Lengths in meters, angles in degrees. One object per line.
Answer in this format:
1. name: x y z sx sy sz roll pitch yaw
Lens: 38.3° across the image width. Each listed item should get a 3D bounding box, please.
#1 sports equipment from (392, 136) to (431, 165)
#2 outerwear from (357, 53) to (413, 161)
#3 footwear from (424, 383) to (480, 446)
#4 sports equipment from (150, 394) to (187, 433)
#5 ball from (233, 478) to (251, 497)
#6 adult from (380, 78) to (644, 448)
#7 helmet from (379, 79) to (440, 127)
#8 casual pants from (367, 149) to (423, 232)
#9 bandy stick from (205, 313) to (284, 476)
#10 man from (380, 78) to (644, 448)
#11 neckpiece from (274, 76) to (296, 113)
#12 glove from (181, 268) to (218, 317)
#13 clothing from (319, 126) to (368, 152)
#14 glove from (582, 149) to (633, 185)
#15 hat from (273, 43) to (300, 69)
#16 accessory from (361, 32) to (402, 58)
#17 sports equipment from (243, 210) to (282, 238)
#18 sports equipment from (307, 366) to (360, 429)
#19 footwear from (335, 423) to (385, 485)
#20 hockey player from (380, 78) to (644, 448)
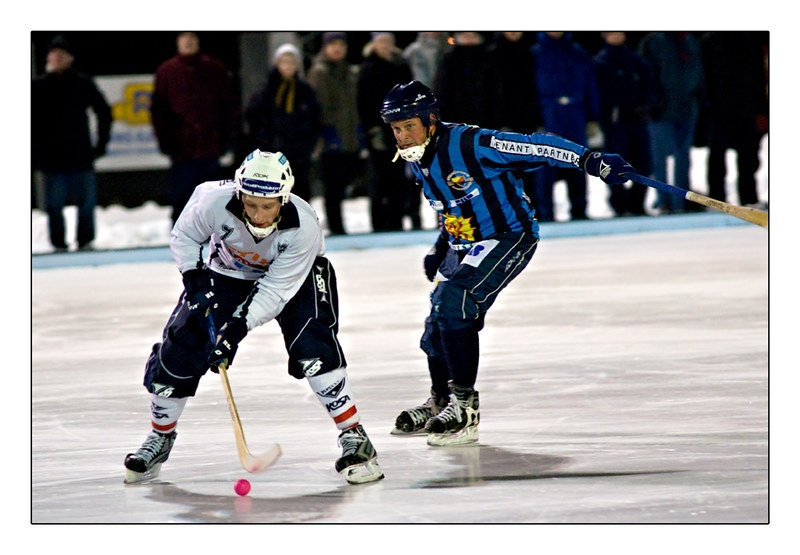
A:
1. sports equipment: 0.090 -0.704 6.482 0.140 0.094 0.187 5 41 47
2. outerwear: -0.123 -1.709 11.614 0.823 1.076 0.430 0 21 6
3. footwear: 0.295 0.763 6.397 0.282 0.294 0.201 0 10 0
4. sports equipment: -1.229 0.710 6.052 0.251 0.195 0.197 5 3 -13
5. ball: -0.790 1.055 5.784 0.095 0.072 0.046 -2 -5 -3
6. adult: 0.420 -0.096 6.424 0.977 1.983 0.760 8 13 39
7. helmet: 0.092 -0.971 6.408 0.326 0.239 0.246 -1 -1 -33
8. casual pants: -0.097 -0.862 11.690 0.799 0.625 0.189 -6 9 -44
9. bandy stick: -0.902 0.622 6.167 0.200 0.178 1.496 -15 34 -10
10. man: 0.423 -0.095 6.422 0.985 1.983 0.760 8 13 39
11. neckpiece: -1.127 -1.797 11.329 0.203 0.335 0.038 -1 10 -4
12. glove: -1.045 0.075 5.990 0.204 0.222 0.096 -8 -10 1
13. clothing: -0.589 -1.415 11.656 0.402 0.284 0.086 -2 2 -6
14. glove: 1.117 -0.616 6.314 0.169 0.114 0.270 -27 32 -29
15. hat: -1.107 -2.208 11.330 0.255 0.246 0.296 1 17 -3
16. accessory: -0.107 -2.281 11.305 0.462 0.189 0.334 -3 5 -29
17. sports equipment: -0.705 -0.285 5.880 0.146 0.126 0.077 1 0 5
18. sports equipment: -0.293 0.649 6.016 0.235 0.149 0.436 -23 50 3
19. footwear: -0.216 0.913 5.926 0.148 0.247 0.390 -33 -26 8
20. hockey player: 0.420 -0.096 6.424 0.977 1.983 0.760 8 13 39
